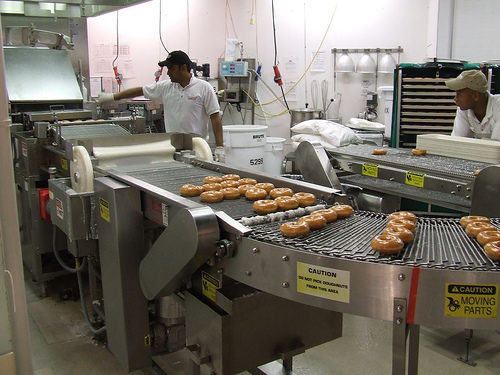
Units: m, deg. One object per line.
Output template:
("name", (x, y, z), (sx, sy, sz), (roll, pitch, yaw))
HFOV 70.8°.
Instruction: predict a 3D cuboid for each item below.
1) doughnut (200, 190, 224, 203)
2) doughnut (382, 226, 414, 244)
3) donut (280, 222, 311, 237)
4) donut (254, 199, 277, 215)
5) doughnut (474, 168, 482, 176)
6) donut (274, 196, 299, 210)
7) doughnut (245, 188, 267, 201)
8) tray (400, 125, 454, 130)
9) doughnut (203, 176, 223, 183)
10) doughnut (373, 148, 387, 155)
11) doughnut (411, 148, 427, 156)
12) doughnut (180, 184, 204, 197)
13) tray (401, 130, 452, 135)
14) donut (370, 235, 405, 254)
("doughnut", (-0.171, 0.044, 1.582), (0.107, 0.046, 0.065), (-5, 16, -6))
("doughnut", (0.480, 0.140, 1.140), (0.061, 0.024, 0.064), (-4, 13, -10))
("donut", (0.159, 0.147, 1.225), (0.104, 0.043, 0.082), (-2, 16, 4))
("donut", (0.067, 0.079, 1.446), (0.083, 0.037, 0.094), (7, 19, 34))
("doughnut", (1.350, -0.090, 2.095), (0.042, 0.019, 0.048), (-18, 3, -35))
("donut", (0.154, 0.062, 1.506), (0.091, 0.040, 0.110), (-9, 17, -20))
("doughnut", (0.027, 0.032, 1.615), (0.092, 0.040, 0.086), (11, 21, 41))
("tray", (1.773, -0.611, 3.548), (0.475, 0.063, 0.043), (2, 16, 18))
("doughnut", (-0.190, -0.041, 1.816), (0.091, 0.028, 0.117), (-3, 16, 2))
("doughnut", (1.104, -0.304, 2.991), (0.107, 0.038, 0.083), (2, 17, 18))
("doughnut", (1.395, -0.295, 2.885), (0.113, 0.045, 0.134), (3, 17, 22))
("doughnut", (-0.267, 0.014, 1.648), (0.109, 0.041, 0.092), (0, 16, 13))
("tray", (1.780, -0.565, 3.565), (0.458, 0.053, 0.035), (1, 15, 15))
("donut", (0.417, 0.161, 1.054), (0.061, 0.023, 0.062), (9, 19, 42))
